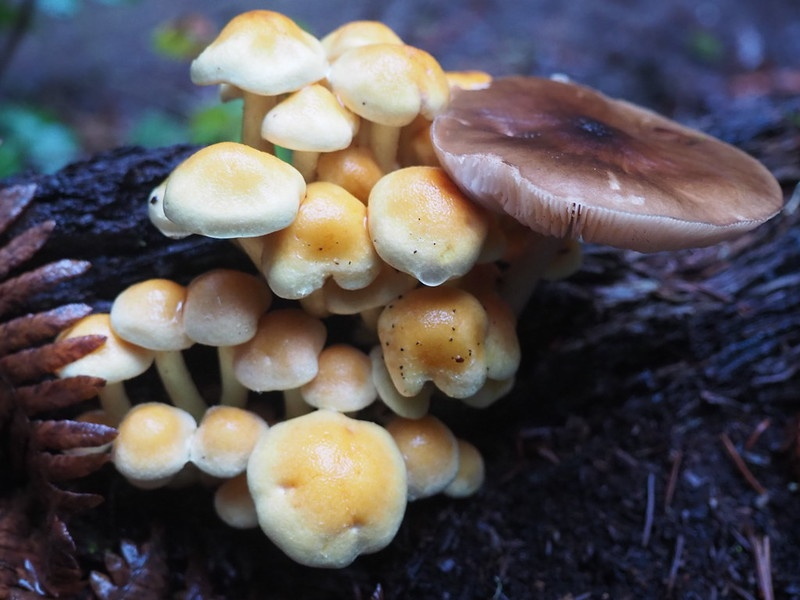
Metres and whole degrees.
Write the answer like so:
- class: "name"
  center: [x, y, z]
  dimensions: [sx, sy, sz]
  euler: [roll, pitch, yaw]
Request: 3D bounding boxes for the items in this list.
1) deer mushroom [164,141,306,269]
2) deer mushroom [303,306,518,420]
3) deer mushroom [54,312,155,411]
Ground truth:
- class: "deer mushroom"
  center: [-0.756, -0.471, 4.325]
  dimensions: [0.567, 0.235, 0.488]
  euler: [-13, 45, -22]
- class: "deer mushroom"
  center: [0.065, 0.312, 4.703]
  dimensions: [0.462, 0.188, 0.542]
  euler: [-8, 33, -17]
- class: "deer mushroom"
  center: [-1.423, 0.277, 4.563]
  dimensions: [0.306, 0.414, 0.289]
  euler: [-14, 53, -24]
